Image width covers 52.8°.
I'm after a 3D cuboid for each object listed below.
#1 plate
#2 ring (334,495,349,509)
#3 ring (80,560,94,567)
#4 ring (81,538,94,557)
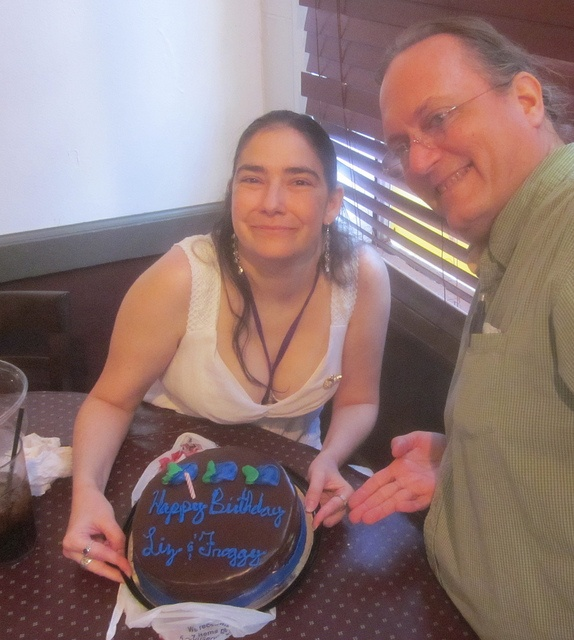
[{"bbox_3d":[-0.107,0.334,0.947,0.319,0.146,0.299,-4,44,-13],"label":"plate"},{"bbox_3d":[0.102,0.319,1.018,0.018,0.021,0.023,-1,11,-2],"label":"ring"},{"bbox_3d":[-0.315,0.377,0.901,0.011,0.012,0.011,1,0,0],"label":"ring"},{"bbox_3d":[-0.317,0.359,0.907,0.014,0.019,0.007,-2,-6,12],"label":"ring"}]
